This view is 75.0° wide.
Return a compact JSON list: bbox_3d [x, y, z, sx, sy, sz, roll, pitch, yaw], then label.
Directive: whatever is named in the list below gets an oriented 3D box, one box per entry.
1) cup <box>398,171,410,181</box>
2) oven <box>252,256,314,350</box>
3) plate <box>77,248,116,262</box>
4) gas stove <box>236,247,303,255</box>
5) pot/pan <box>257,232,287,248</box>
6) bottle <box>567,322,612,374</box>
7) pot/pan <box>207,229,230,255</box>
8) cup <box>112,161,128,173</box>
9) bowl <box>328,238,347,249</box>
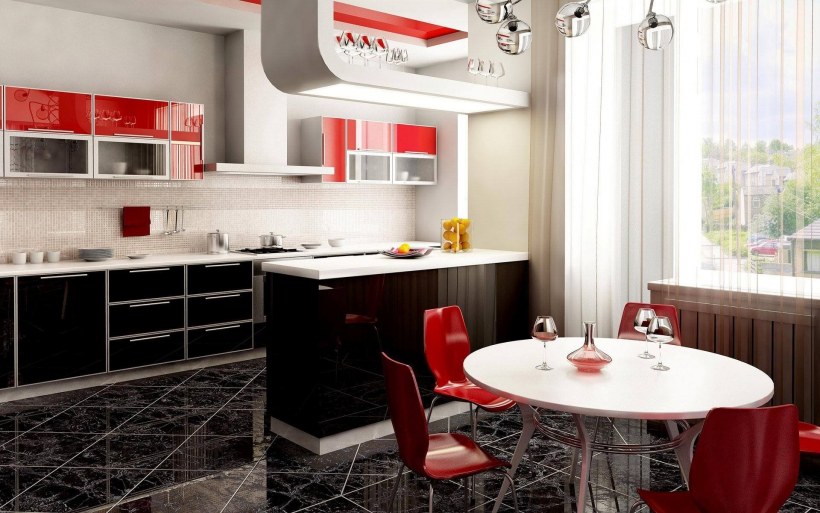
[{"bbox_3d":[-0.107,-1.257,8.381,0.162,0.120,0.150,-1,2,0],"label":"cup"},{"bbox_3d":[-1.417,0.711,6.442,0.638,0.936,0.483,1,-3,-12],"label":"oven"},{"bbox_3d":[-3.609,-0.025,6.061,0.381,0.132,0.202,0,11,-1],"label":"plate"},{"bbox_3d":[-1.827,-0.078,6.956,0.800,0.043,0.645,-3,11,-14],"label":"gas stove"},{"bbox_3d":[-1.874,-0.213,7.226,0.320,0.162,0.210,-1,1,-36],"label":"pot/pan"},{"bbox_3d":[1.146,0.581,3.474,0.301,0.285,0.295,0,-1,-12],"label":"bottle"},{"bbox_3d":[-2.469,-0.163,6.836,0.258,0.244,0.286,3,3,39],"label":"pot/pan"},{"bbox_3d":[-3.311,-1.005,6.084,0.130,0.107,0.119,0,9,0],"label":"cup"},{"bbox_3d":[-1.064,-0.200,7.709,0.207,0.120,0.212,0,11,0],"label":"bowl"}]
